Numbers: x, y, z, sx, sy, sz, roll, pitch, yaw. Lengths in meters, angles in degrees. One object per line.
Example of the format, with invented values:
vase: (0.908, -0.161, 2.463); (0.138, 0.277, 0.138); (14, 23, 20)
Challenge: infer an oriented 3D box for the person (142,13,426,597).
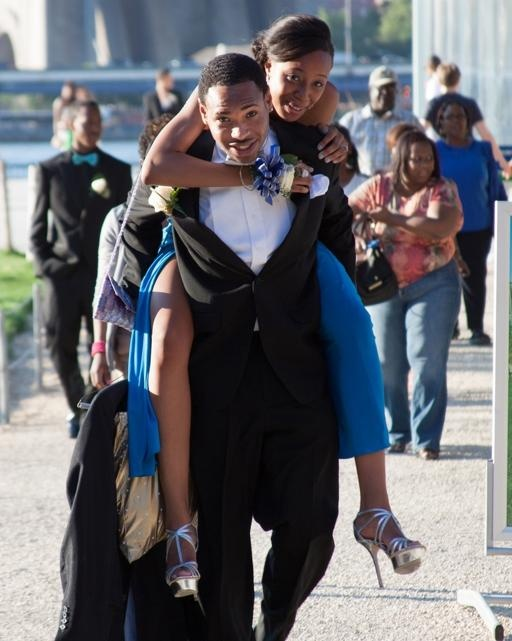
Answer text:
person: (0.090, -0.033, 4.282); (0.844, 1.866, 0.339); (-2, 9, 4)

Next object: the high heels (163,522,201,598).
high heels: (-0.243, 0.778, 4.157); (0.106, 0.194, 0.196); (-4, 9, -5)

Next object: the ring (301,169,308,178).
ring: (0.153, -0.454, 4.154); (0.023, 0.026, 0.005); (15, -5, 7)

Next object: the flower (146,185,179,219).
flower: (-0.307, -0.377, 4.225); (0.084, 0.098, 0.082); (13, 12, 12)

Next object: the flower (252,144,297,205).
flower: (0.052, -0.442, 4.070); (0.058, 0.155, 0.146); (6, 24, -46)

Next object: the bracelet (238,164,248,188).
bracelet: (-0.043, -0.444, 4.095); (0.028, 0.070, 0.013); (-4, 9, -3)
